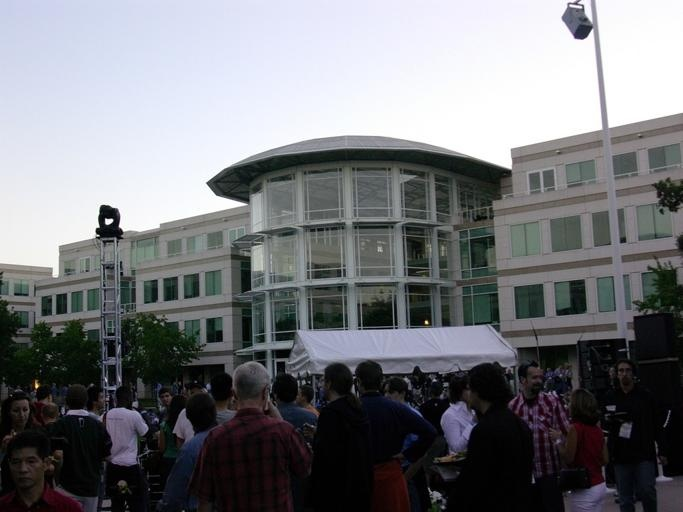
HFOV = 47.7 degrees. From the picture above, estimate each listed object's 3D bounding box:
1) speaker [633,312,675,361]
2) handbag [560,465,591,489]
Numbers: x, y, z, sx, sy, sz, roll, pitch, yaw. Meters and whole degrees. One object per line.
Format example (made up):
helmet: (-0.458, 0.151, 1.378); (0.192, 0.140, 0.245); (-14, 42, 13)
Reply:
speaker: (6.072, 1.533, 14.842); (0.422, 0.890, 1.002); (-2, -12, -13)
handbag: (2.770, 2.608, 9.094); (0.273, 0.217, 0.096); (-4, -3, 11)
